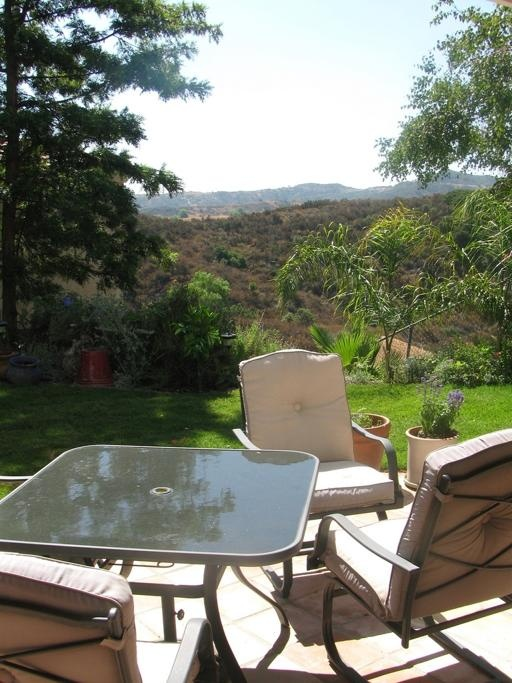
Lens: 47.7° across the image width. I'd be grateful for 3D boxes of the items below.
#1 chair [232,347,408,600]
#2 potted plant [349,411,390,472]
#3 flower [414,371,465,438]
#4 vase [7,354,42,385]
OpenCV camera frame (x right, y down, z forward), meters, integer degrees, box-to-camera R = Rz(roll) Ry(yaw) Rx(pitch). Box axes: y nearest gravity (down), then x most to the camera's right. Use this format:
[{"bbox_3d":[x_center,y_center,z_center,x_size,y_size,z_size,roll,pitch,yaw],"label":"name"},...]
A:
[{"bbox_3d":[0.287,0.498,3.242,0.946,1.382,1.083,-1,-3,-22],"label":"chair"},{"bbox_3d":[0.746,0.713,3.781,0.240,0.225,0.224,3,-18,28],"label":"potted plant"},{"bbox_3d":[1.257,0.420,3.929,0.321,0.475,0.335,-9,10,-36],"label":"flower"},{"bbox_3d":[-3.015,0.365,7.543,0.396,0.271,0.387,2,1,-29],"label":"vase"}]
